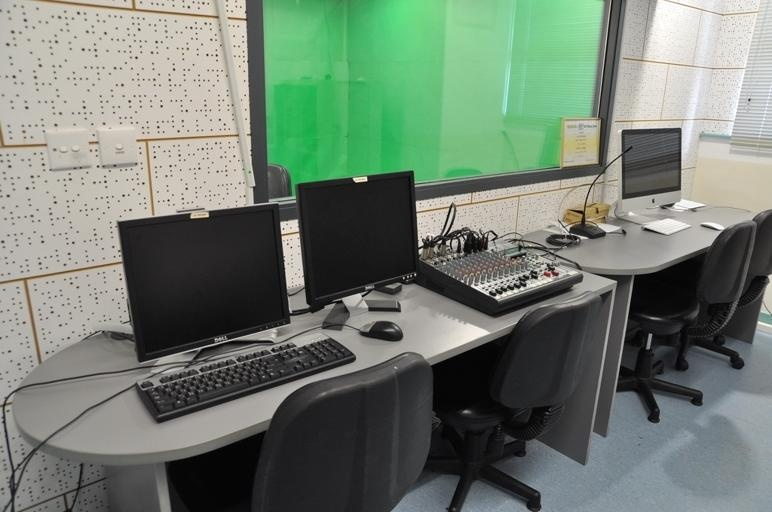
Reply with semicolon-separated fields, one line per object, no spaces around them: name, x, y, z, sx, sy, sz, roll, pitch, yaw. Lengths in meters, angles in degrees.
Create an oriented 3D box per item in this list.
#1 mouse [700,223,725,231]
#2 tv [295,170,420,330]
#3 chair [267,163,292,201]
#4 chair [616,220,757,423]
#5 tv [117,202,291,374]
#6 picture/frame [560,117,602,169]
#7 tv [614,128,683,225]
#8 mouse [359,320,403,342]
mouse;2.113;-0.192;3.440;0.080;0.028;0.138;-6;9;-19
tv;-0.121;-0.012;2.298;0.629;0.618;0.234;-12;17;-35
chair;-0.520;-0.362;2.567;0.136;0.202;0.114;18;25;31
chair;1.711;0.320;3.224;0.743;1.078;0.686;10;12;-5
tv;-0.681;0.138;1.996;0.606;0.482;0.043;-13;10;-30
picture/frame;1.315;-0.767;3.610;0.434;0.327;0.023;-10;14;-34
tv;1.727;-0.531;3.514;0.624;0.583;0.200;-16;16;-34
mouse;-0.016;0.303;2.137;0.142;0.044;0.080;7;19;18
